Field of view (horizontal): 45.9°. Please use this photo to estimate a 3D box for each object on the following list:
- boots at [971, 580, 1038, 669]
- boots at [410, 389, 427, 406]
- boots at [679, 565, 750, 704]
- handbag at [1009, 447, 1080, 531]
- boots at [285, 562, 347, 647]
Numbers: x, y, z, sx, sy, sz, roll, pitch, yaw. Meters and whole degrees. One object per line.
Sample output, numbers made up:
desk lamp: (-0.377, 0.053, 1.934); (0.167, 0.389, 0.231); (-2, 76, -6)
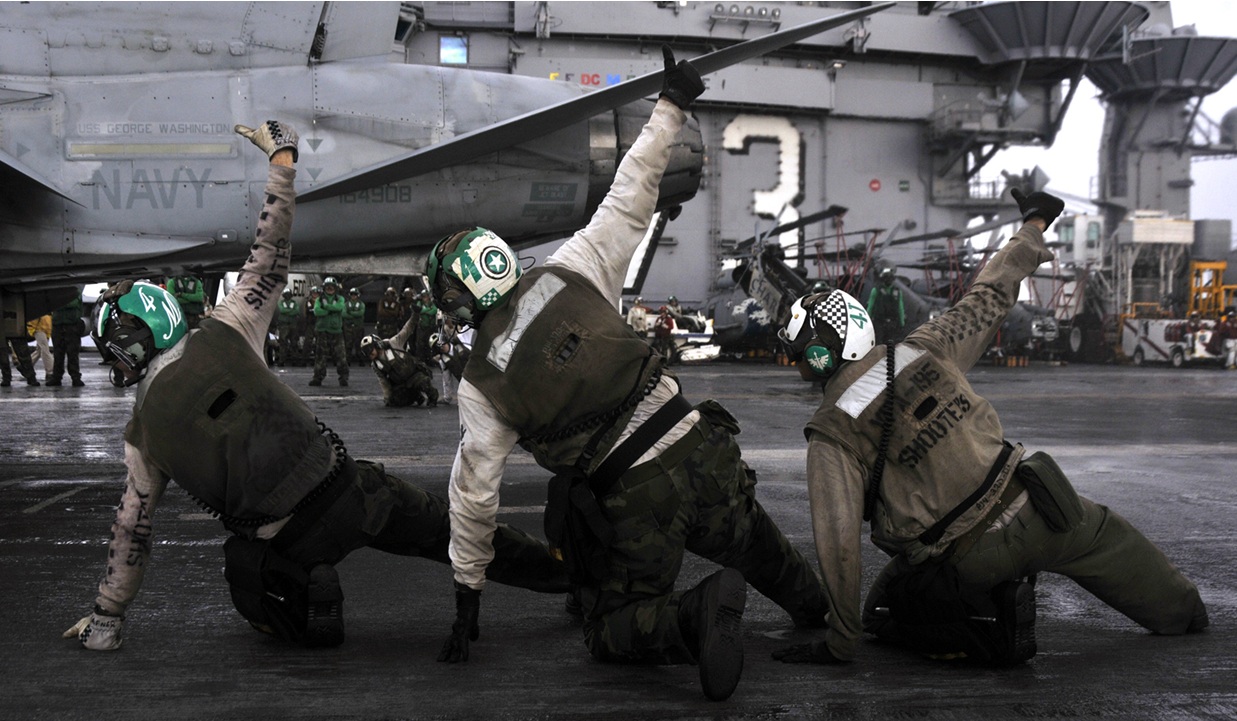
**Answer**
boots: (3.786, 2.569, 14.366); (0.628, 0.858, 0.239); (3, 8, 15)
boots: (-3.328, 0.626, 24.432); (0.191, 0.249, 0.254); (11, 13, 25)
boots: (0.930, 2.589, 14.058); (0.535, 1.319, 0.620); (2, -7, -27)
handbag: (4.281, 1.334, 14.741); (0.406, 0.756, 0.554); (-26, 10, 20)
boots: (-2.987, 2.449, 14.586); (0.483, 0.818, 0.193); (-1, 8, -17)
